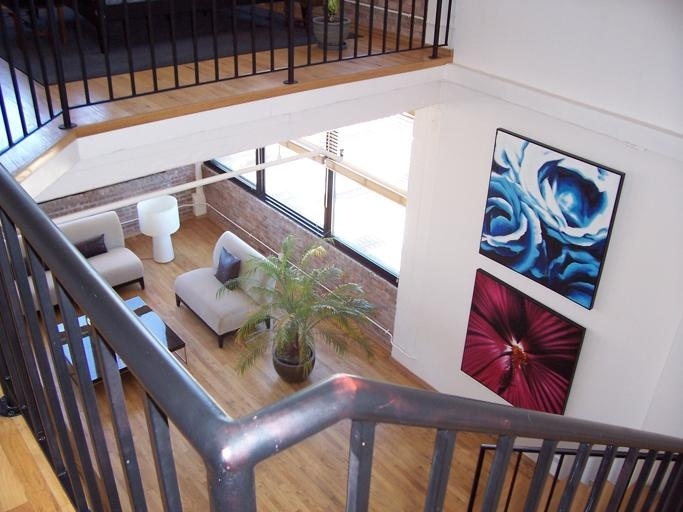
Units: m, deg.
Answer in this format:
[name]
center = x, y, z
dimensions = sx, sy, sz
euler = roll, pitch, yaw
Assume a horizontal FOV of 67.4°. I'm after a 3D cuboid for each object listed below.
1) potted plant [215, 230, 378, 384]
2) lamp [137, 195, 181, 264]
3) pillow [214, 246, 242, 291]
[potted plant]
center = -0.492, 0.607, 6.850
dimensions = 1.805, 1.754, 1.950
euler = 15, 34, 16
[lamp]
center = -3.100, -0.430, 8.641
dimensions = 0.619, 1.055, 0.622
euler = -26, 48, -30
[pillow]
center = -1.680, 0.196, 7.599
dimensions = 0.510, 0.515, 0.187
euler = 17, 16, 40
